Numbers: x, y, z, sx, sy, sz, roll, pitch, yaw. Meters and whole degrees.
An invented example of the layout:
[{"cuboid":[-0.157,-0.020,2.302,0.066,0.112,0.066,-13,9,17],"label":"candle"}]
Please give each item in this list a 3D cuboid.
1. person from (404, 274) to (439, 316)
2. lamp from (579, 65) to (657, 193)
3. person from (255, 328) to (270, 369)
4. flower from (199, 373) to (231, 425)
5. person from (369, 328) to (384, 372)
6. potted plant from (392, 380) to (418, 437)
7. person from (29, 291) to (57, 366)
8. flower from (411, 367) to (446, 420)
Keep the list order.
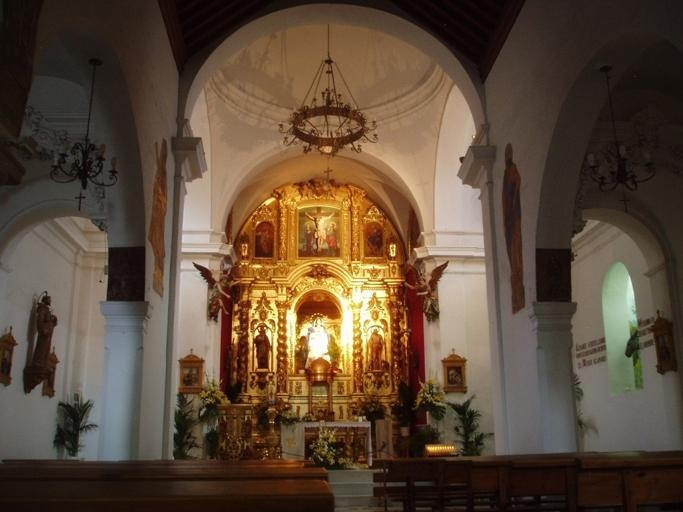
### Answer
[{"cuboid":[2.167,1.069,16.192,0.632,1.495,1.100,6,-11,-27],"label":"person"},{"cuboid":[3.698,-1.756,8.068,0.818,1.768,0.747,-4,-25,23],"label":"lamp"},{"cuboid":[-2.393,2.757,17.837,0.464,1.244,0.173,2,-16,-10],"label":"person"},{"cuboid":[-3.118,3.597,14.632,0.772,1.132,0.776,1,-20,-4],"label":"flower"},{"cuboid":[1.032,2.808,18.074,0.441,1.189,0.114,-1,-16,2],"label":"person"},{"cuboid":[1.816,4.286,16.935,0.953,1.508,1.046,-2,-18,12],"label":"potted plant"},{"cuboid":[-6.164,1.528,12.393,0.344,1.618,0.709,-1,-16,1],"label":"person"},{"cuboid":[2.087,3.443,14.457,0.770,0.847,0.792,-3,9,-23],"label":"flower"}]
